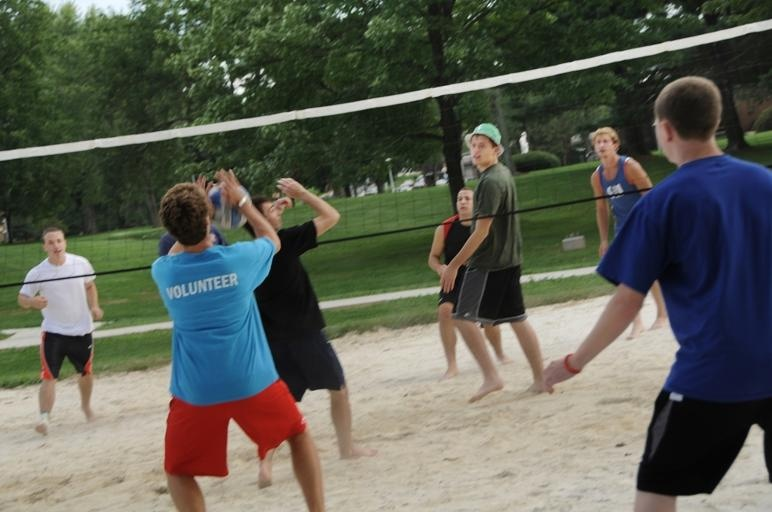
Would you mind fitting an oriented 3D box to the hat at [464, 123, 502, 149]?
[{"bbox_3d":[1.118,-1.333,8.903,0.403,0.200,0.396,2,2,17],"label":"hat"}]

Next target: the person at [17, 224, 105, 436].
[{"bbox_3d":[-3.971,0.897,9.860,0.942,2.476,0.981,-9,7,-20],"label":"person"}]
